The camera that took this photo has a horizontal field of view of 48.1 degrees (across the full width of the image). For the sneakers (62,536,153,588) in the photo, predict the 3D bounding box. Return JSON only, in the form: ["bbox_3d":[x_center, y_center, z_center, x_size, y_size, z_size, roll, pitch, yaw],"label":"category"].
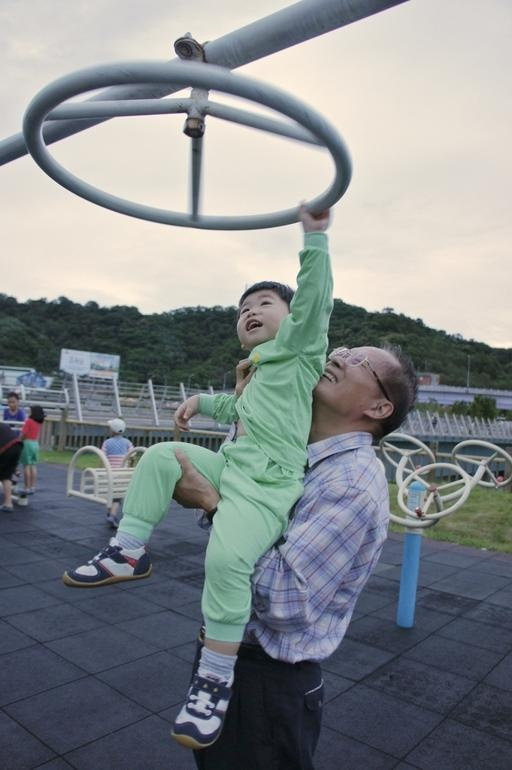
[{"bbox_3d":[-0.483,0.532,1.704,0.353,0.145,0.112,-2,-6,-12],"label":"sneakers"}]

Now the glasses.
[{"bbox_3d":[0.324,0.000,1.597,0.062,0.192,0.189,-44,31,-25],"label":"glasses"}]

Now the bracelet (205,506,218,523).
[{"bbox_3d":[-0.110,0.323,1.424,0.029,0.035,0.049,18,-27,12],"label":"bracelet"}]

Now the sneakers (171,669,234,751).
[{"bbox_3d":[-0.115,0.696,1.215,0.097,0.144,0.120,3,0,11],"label":"sneakers"}]

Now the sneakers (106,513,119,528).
[{"bbox_3d":[-1.901,1.826,7.572,0.138,0.106,0.306,-4,10,-8],"label":"sneakers"}]
